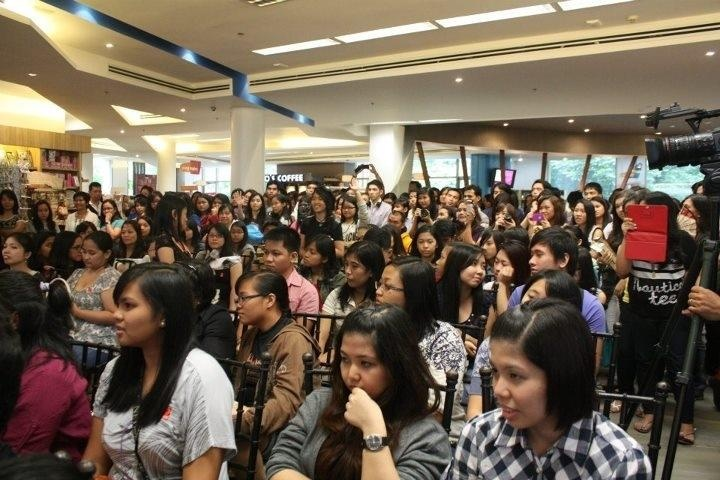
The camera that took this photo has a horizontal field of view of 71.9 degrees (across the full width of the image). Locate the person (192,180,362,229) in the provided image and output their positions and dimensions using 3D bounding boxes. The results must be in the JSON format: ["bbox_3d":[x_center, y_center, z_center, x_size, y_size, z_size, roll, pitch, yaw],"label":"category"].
[{"bbox_3d":[-0.983,-0.427,7.196,1.690,0.427,1.160,-2,3,17],"label":"person"}]

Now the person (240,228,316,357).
[{"bbox_3d":[-0.687,0.441,4.342,0.581,1.118,0.689,-1,10,-40],"label":"person"}]

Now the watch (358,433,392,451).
[{"bbox_3d":[0.060,0.795,1.997,0.090,0.058,0.083,0,-14,-11],"label":"watch"}]

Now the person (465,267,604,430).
[{"bbox_3d":[1.072,0.513,2.931,0.409,0.802,0.362,4,34,28],"label":"person"}]

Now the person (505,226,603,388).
[{"bbox_3d":[1.417,0.587,3.466,0.619,1.307,0.659,-2,3,-29],"label":"person"}]
